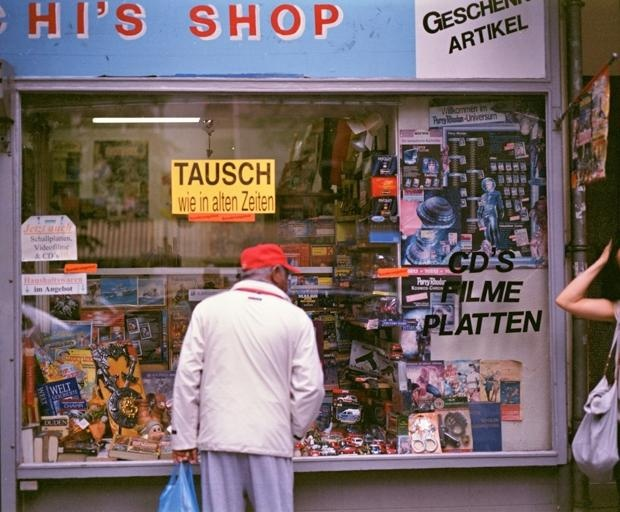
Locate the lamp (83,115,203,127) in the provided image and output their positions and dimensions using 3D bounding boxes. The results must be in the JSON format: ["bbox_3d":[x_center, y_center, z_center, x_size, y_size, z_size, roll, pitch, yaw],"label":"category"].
[{"bbox_3d":[-1.244,-1.045,9.234,0.827,0.071,0.056,-1,1,1],"label":"lamp"}]

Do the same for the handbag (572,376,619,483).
[{"bbox_3d":[1.998,1.210,8.496,0.321,0.730,0.215,-1,1,13],"label":"handbag"}]
